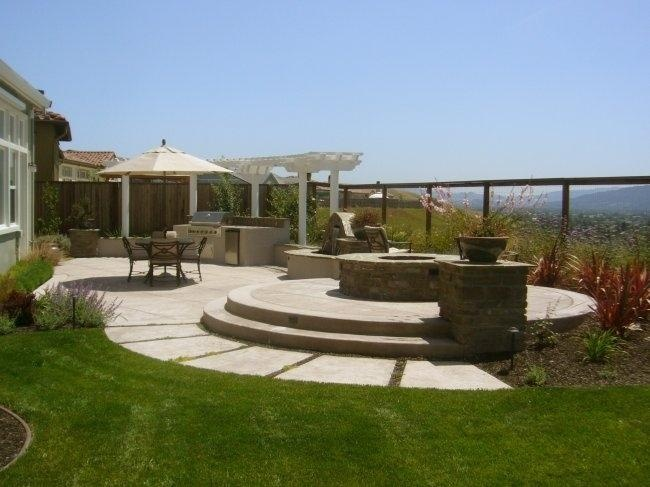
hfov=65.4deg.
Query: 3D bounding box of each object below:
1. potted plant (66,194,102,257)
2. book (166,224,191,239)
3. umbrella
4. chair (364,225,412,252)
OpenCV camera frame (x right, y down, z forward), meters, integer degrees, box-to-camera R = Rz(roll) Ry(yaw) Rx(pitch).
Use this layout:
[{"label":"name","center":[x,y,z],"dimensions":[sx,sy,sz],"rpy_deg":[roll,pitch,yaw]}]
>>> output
[{"label":"potted plant","center":[-8.533,-0.587,17.799],"dimensions":[0.976,1.938,1.899],"rpy_deg":[-6,12,-23]},{"label":"book","center":[-4.898,-0.396,17.000],"dimensions":[0.647,0.560,0.328],"rpy_deg":[2,7,13]},{"label":"umbrella","center":[-5.645,-1.713,17.741],"dimensions":[3.929,2.817,3.971],"rpy_deg":[1,1,40]},{"label":"chair","center":[1.313,-0.131,11.287],"dimensions":[0.929,0.915,0.641],"rpy_deg":[-3,6,-28]}]
